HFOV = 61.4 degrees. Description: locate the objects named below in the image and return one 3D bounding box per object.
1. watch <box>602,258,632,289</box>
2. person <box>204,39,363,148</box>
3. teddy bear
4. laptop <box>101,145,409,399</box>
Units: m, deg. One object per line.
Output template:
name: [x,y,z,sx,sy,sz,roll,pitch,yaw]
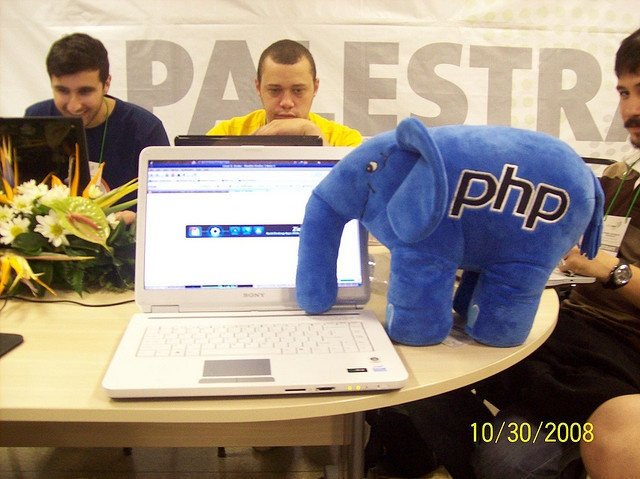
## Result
watch: [0.912,0.113,1.707,0.064,0.090,0.087,19,-1,9]
person: [-0.161,-0.689,2.695,0.786,0.443,0.497,10,8,5]
teddy bear: [0.304,-0.013,1.307,0.702,0.461,0.437,5,8,9]
laptop: [-0.151,0.082,1.319,0.717,0.450,0.582,-1,17,-5]
